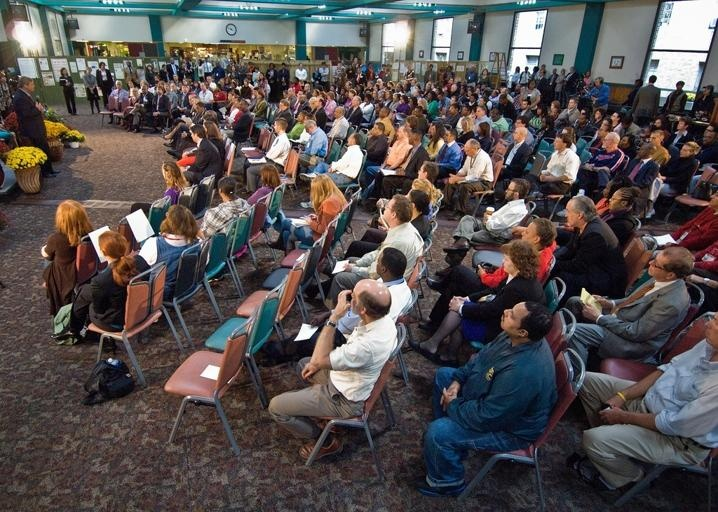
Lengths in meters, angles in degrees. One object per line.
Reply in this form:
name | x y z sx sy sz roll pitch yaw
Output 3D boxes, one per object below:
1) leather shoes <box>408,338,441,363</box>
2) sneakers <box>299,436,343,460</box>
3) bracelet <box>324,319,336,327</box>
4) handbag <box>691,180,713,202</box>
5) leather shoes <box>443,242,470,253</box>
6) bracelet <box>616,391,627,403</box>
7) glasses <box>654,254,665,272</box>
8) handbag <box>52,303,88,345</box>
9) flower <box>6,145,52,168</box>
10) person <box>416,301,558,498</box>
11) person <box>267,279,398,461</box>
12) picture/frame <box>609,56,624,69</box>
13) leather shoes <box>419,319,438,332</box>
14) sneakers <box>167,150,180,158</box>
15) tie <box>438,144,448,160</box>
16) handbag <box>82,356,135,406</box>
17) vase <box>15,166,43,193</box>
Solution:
leather shoes | 0.662 0.990 4.722 0.379 0.094 0.126 29 33 24
sneakers | -0.325 1.604 3.837 0.360 0.177 0.158 -5 32 -16
bracelet | -0.231 0.554 3.674 0.081 0.031 0.048 0 6 -32
handbag | 5.904 -1.108 7.716 0.276 0.290 0.233 7 7 34
leather shoes | 1.305 -0.111 5.975 0.391 0.168 0.143 1 -5 14
bracelet | 2.202 1.184 3.754 0.061 0.017 0.059 24 25 -50
glasses | 2.690 0.068 4.045 0.083 0.118 0.116 -6 11 -7
handbag | -3.032 0.733 4.673 0.242 0.322 0.709 -7 0 -42
flower | -6.060 -1.760 8.185 0.458 0.185 0.516 13 24 19
person | 1.088 1.166 3.753 1.015 1.765 0.914 6 22 13
person | -0.220 1.008 3.761 0.910 1.611 0.679 9 14 7
picture/frame | 8.964 -6.710 15.514 0.037 0.483 0.469 -8 27 -23
leather shoes | 0.774 0.779 5.048 0.254 0.113 0.088 8 21 41
sneakers | -4.572 -2.511 11.042 0.342 0.149 0.106 37 35 18
tie | 1.605 -1.979 8.539 0.091 0.267 0.194 19 2 -23
handbag | -2.398 1.146 4.243 0.307 0.445 0.423 11 16 36
vase | -6.076 -1.429 8.352 0.455 0.529 0.468 14 18 40
